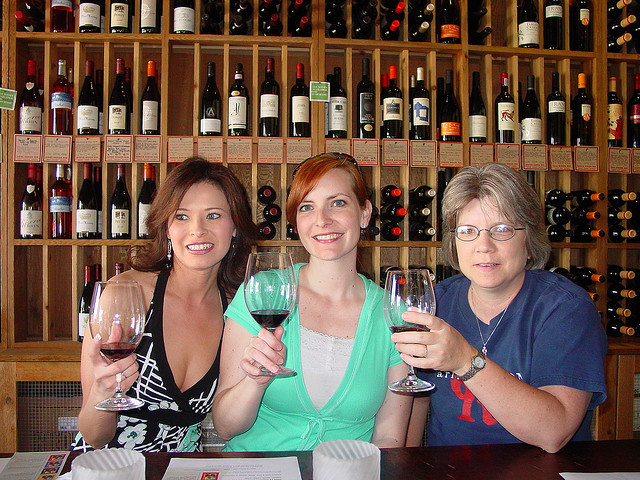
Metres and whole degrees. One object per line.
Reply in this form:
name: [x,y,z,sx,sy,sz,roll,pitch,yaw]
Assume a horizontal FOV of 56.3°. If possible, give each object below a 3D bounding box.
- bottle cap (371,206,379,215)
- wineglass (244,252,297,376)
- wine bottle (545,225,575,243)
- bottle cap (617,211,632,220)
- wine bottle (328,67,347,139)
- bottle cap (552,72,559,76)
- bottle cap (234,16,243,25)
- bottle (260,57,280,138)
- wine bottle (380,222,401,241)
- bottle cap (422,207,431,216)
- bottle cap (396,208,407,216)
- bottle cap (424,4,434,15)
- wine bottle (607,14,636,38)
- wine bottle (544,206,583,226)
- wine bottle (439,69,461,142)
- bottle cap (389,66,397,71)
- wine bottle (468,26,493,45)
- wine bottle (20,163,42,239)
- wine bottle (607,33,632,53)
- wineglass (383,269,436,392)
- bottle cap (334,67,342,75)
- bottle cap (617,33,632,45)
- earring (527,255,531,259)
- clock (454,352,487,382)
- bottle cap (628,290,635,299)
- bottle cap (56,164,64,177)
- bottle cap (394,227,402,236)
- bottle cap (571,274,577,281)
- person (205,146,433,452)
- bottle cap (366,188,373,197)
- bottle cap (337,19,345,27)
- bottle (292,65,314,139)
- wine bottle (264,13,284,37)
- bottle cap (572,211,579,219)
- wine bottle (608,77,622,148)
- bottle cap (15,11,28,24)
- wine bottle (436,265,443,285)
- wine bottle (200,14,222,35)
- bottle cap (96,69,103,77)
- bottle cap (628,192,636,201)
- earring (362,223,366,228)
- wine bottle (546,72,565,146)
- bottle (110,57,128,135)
bottle cap: [0.308,-0.165,3.409,0.054,0.059,0.013,9,5,36]
wineglass: [-0.171,0.189,2.100,0.160,0.285,0.154,-3,-2,36]
wine bottle: [1.439,-0.037,3.598,0.167,0.105,0.110,-2,-1,15]
bottle cap: [1.758,-0.132,3.454,0.046,0.050,0.082,10,11,-6]
wine bottle: [0.096,-0.789,3.479,0.114,0.424,0.164,-2,-2,2]
bottle cap: [1.409,-0.993,3.591,0.041,0.033,0.043,1,9,0]
bottle cap: [-0.464,-1.241,3.383,0.037,0.039,0.041,30,-30,12]
bottle: [-0.300,-0.833,3.523,0.118,0.529,0.357,-1,-2,-4]
wine bottle: [0.405,-0.042,3.476,0.067,0.074,0.193,8,7,3]
bottle cap: [0.614,-0.162,3.473,0.038,0.042,0.009,-6,-2,-17]
bottle cap: [0.465,-0.159,3.449,0.061,0.043,0.055,-2,-1,7]
bottle cap: [0.613,-1.316,3.429,0.044,0.049,0.068,-18,5,-6]
wine bottle: [1.856,-1.315,3.694,0.072,0.078,0.203,15,-6,-20]
wine bottle: [1.457,-0.146,3.599,0.212,0.111,0.116,-2,-2,23]
wine bottle: [0.761,-0.786,3.553,0.125,0.443,0.186,-2,-2,12]
bottle cap: [0.420,-0.999,3.503,0.039,0.026,0.040,4,4,41]
wine bottle: [0.953,-1.229,3.607,0.052,0.057,0.137,12,1,-11]
wine bottle: [-1.636,-0.211,3.386,0.114,0.423,0.169,-1,-2,-28]
wine bottle: [1.825,-1.214,3.681,0.051,0.056,0.146,9,2,-12]
wineglass: [0.307,0.316,2.102,0.173,0.424,0.227,-2,-2,1]
bottle cap: [0.099,-0.997,3.521,0.045,0.054,0.047,2,1,4]
bottle cap: [1.799,-1.193,3.559,0.059,0.066,0.097,12,6,1]
earring: [0.848,0.073,2.441,0.004,0.015,0.014,13,-13,-39]
clock: [0.528,0.436,2.098,0.055,0.095,0.087,17,-23,-21]
bottle cap: [1.847,0.335,3.560,0.031,0.034,0.031,6,-5,-43]
bottle cap: [-1.480,-0.390,3.404,0.039,0.069,0.087,-1,-2,-23]
bottle cap: [0.443,-0.046,3.392,0.029,0.043,0.015,-1,-26,-1]
bottle cap: [1.517,0.233,3.602,0.033,0.026,0.010,5,6,8]
person: [-0.002,0.384,2.387,0.776,1.501,0.810,3,0,2]
bottle cap: [0.285,-0.271,3.459,0.042,0.046,0.011,10,0,2]
bottle cap: [0.120,-1.280,3.540,0.050,0.056,0.012,4,-20,-3]
bottle: [-0.109,-0.823,3.526,0.122,0.514,0.362,-1,-2,-2]
wine bottle: [-0.272,-1.218,3.406,0.116,0.113,0.178,-2,-1,2]
bottle cap: [1.525,-0.146,3.597,0.033,0.036,0.008,-17,-9,7]
wine bottle: [1.794,-0.778,3.663,0.083,0.435,0.119,-2,-2,28]
bottle cap: [-1.632,-1.218,3.275,0.053,0.052,0.088,26,3,-26]
wine bottle: [0.707,0.203,3.577,0.031,0.098,0.108,-2,-1,17]
wine bottle: [-0.647,-1.261,3.512,0.117,0.135,0.081,-1,-2,-7]
bottle cap: [-1.298,-0.978,3.515,0.036,0.043,0.038,0,4,-5]
bottle cap: [1.872,-0.259,3.595,0.056,0.042,0.041,-1,-1,-11]
earring: [0.185,-0.060,2.558,0.013,0.018,0.026,-2,-1,4]
wine bottle: [1.407,-0.779,3.602,0.112,0.430,0.141,-2,-2,21]
bottle: [-1.167,-0.802,3.469,0.098,0.437,0.289,-1,-2,-18]
